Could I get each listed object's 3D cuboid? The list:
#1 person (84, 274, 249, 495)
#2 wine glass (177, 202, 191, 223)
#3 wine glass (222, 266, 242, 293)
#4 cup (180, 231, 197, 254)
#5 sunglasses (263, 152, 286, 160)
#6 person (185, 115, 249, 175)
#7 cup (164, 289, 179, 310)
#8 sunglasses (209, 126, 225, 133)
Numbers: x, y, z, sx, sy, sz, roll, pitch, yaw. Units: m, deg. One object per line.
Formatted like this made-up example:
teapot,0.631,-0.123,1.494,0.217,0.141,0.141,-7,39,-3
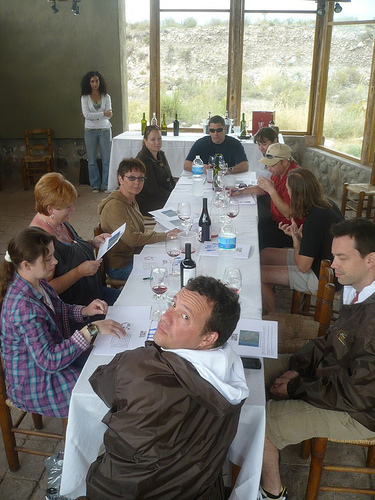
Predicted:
person,-0.049,0.466,1.032,0.479,0.698,0.328,-5,17,-18
wine glass,-0.025,-0.285,2.757,0.136,0.213,0.135,-1,21,1
wine glass,0.205,0.136,1.674,0.111,0.141,0.120,0,3,1
cup,0.002,-0.059,2.348,0.128,0.131,0.132,-1,32,0
sunglasses,0.827,-0.890,3.440,0.113,0.026,0.083,14,7,-4
person,0.378,-1.329,4.653,0.823,0.696,0.537,2,20,11
cup,-0.073,0.211,1.639,0.088,0.065,0.087,-1,21,0
sunglasses,0.359,-1.480,4.499,0.167,0.065,0.060,2,16,5
